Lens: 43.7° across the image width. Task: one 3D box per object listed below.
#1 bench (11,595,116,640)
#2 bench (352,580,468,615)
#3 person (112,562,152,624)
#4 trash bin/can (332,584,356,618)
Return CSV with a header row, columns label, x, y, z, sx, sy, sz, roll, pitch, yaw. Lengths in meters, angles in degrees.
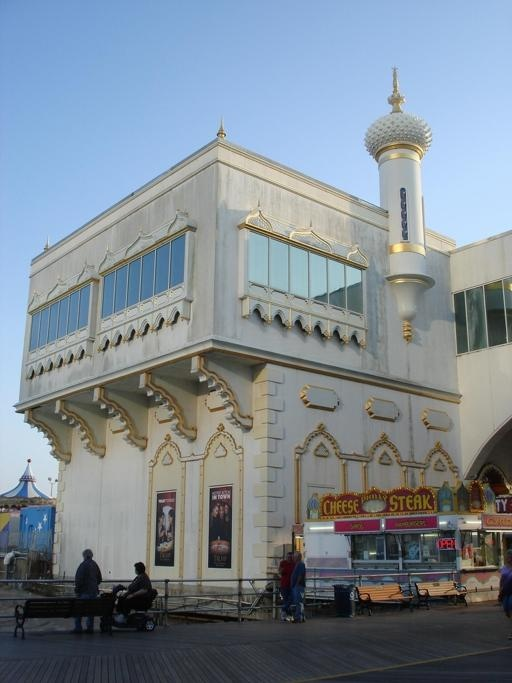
label,x,y,z,sx,sy,sz,roll,pitch,yaw
bench,-3.154,4.546,10.604,1.569,0.664,1.777,2,-18,-15
bench,3.729,6.352,15.950,3.362,0.631,1.075,8,-21,-30
person,-2.176,4.441,11.322,0.646,0.956,0.646,-9,-19,17
trash bin/can,1.941,5.808,14.295,0.404,0.664,0.593,-5,-18,7
